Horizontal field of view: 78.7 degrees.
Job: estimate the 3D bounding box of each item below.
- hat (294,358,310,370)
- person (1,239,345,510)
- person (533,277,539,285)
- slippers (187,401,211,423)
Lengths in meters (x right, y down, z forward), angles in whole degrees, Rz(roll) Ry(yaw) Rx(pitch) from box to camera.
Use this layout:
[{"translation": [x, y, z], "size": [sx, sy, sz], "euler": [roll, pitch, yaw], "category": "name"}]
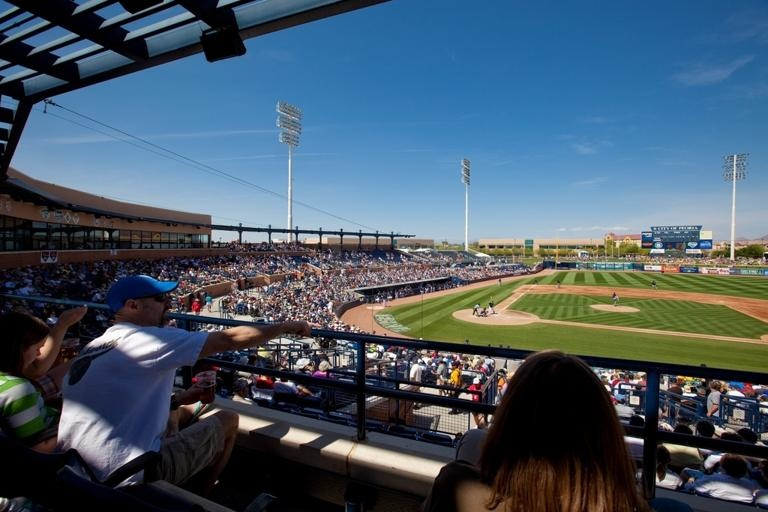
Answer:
[{"translation": [-1.997, 2.604, 11.363], "size": [0.433, 0.189, 0.492], "euler": [1, 3, 2], "category": "hat"}, {"translation": [-1.570, 1.076, 3.606], "size": [1.239, 1.838, 1.158], "euler": [0, -1, 31], "category": "person"}, {"translation": [18.851, 3.159, 58.205], "size": [0.703, 0.374, 1.048], "euler": [0, 6, 15], "category": "person"}, {"translation": [-1.780, 1.475, 4.495], "size": [0.071, 0.222, 0.232], "euler": [36, -40, -13], "category": "slippers"}]
